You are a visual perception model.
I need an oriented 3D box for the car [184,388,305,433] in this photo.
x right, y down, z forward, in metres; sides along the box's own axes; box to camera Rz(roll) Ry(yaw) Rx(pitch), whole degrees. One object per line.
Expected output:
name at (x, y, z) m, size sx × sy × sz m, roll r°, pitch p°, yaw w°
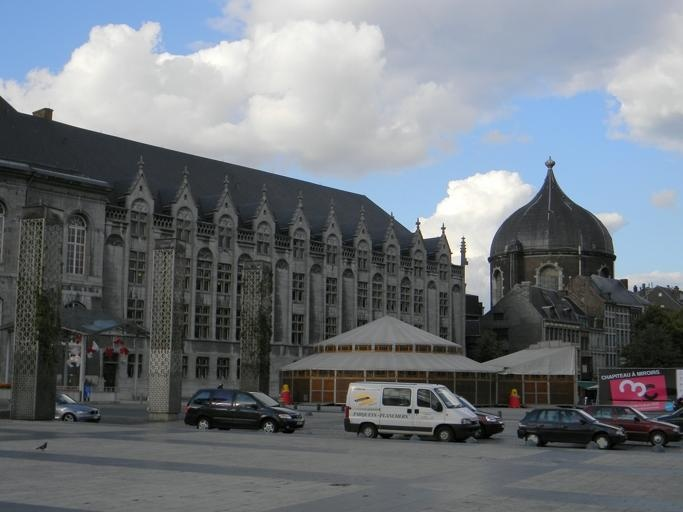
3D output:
car at (-4.545, 7.313, 50.093) m, size 5.066 × 1.811 × 2.279 m, roll -3°, pitch -8°, yaw 13°

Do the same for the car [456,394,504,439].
car at (6.933, 7.775, 50.402) m, size 2.785 × 1.300 × 1.405 m, roll -2°, pitch -3°, yaw -18°

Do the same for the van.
van at (3.312, 7.073, 48.422) m, size 5.341 × 2.203 × 2.753 m, roll -5°, pitch -9°, yaw 23°
